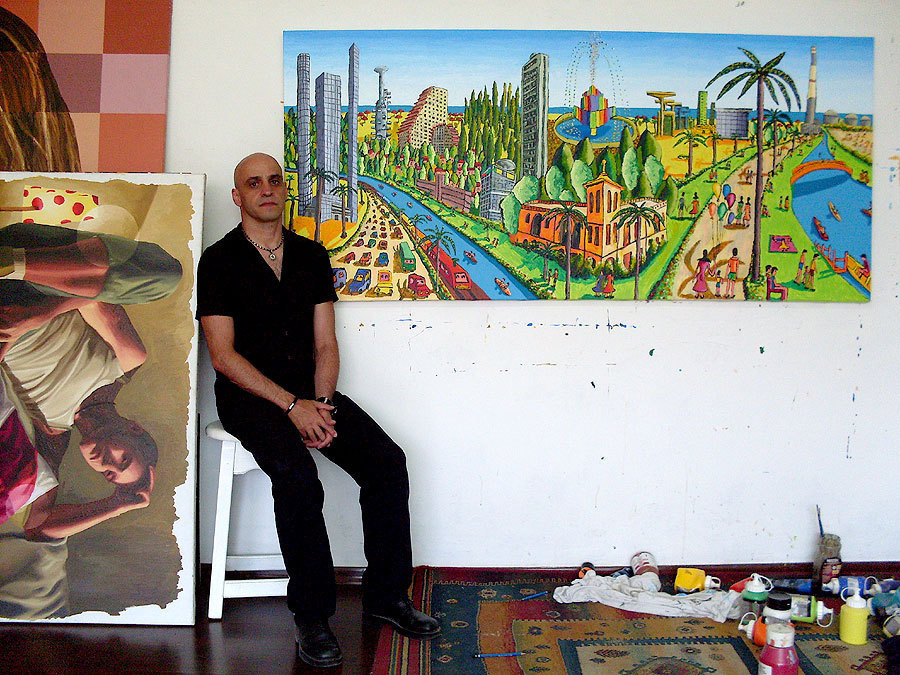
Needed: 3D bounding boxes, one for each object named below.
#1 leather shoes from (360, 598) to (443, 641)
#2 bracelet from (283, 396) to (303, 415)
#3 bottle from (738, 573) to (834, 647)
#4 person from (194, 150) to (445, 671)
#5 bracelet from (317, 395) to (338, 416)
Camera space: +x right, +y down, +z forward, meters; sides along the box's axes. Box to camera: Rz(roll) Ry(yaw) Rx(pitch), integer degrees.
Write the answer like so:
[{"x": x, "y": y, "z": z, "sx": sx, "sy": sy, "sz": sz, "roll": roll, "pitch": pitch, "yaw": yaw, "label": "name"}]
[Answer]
[{"x": -0.191, "y": 1.064, "z": 3.519, "sx": 0.298, "sy": 0.117, "sz": 0.116, "roll": 8, "pitch": 17, "yaw": 19, "label": "leather shoes"}, {"x": -0.625, "y": 0.262, "z": 3.530, "sx": 0.057, "sy": 0.015, "sz": 0.055, "roll": -38, "pitch": 18, "yaw": 36, "label": "bracelet"}, {"x": 1.350, "y": 1.069, "z": 3.540, "sx": 0.357, "sy": 0.344, "sz": 0.216, "roll": 2, "pitch": 4, "yaw": 8, "label": "bottle"}, {"x": -0.530, "y": 0.224, "z": 3.623, "sx": 0.694, "sy": 1.902, "sz": 0.920, "roll": -3, "pitch": 9, "yaw": -44, "label": "person"}, {"x": -0.488, "y": 0.271, "z": 3.622, "sx": 0.073, "sy": 0.079, "sz": 0.065, "roll": 5, "pitch": -7, "yaw": 27, "label": "bracelet"}]
